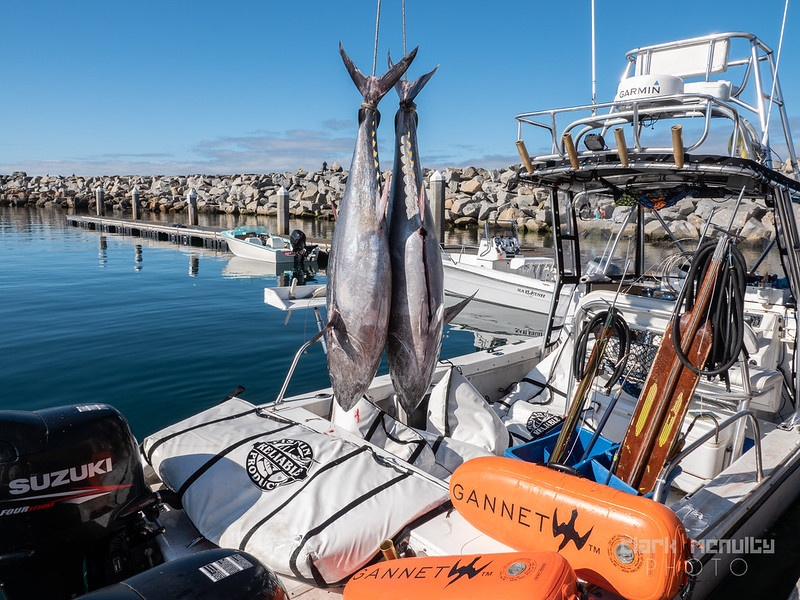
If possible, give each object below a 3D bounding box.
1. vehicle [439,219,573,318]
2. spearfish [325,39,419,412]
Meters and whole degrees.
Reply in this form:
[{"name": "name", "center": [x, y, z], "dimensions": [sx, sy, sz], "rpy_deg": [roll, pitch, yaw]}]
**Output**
[{"name": "vehicle", "center": [2.970, -0.786, 12.660], "dimensions": [4.703, 2.190, 2.121], "rpy_deg": [9, 13, 34]}, {"name": "spearfish", "center": [-0.161, -0.255, 2.020], "dimensions": [0.333, 1.577, 0.343], "rpy_deg": [5, 12, 7]}]
